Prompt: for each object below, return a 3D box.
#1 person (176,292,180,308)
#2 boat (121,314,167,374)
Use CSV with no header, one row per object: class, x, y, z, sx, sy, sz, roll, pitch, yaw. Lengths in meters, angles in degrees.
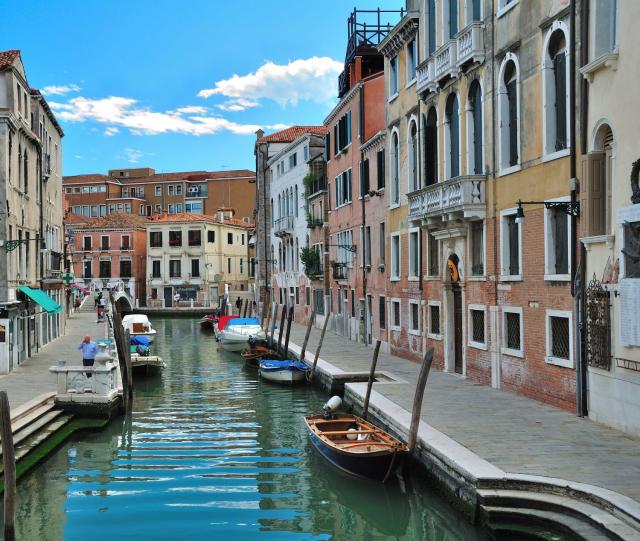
person,-13.143,2.527,77.770,0.378,1.087,1.044,-2,-1,-10
boat,-8.401,3.451,40.080,1.829,2.875,7.984,0,3,-8
